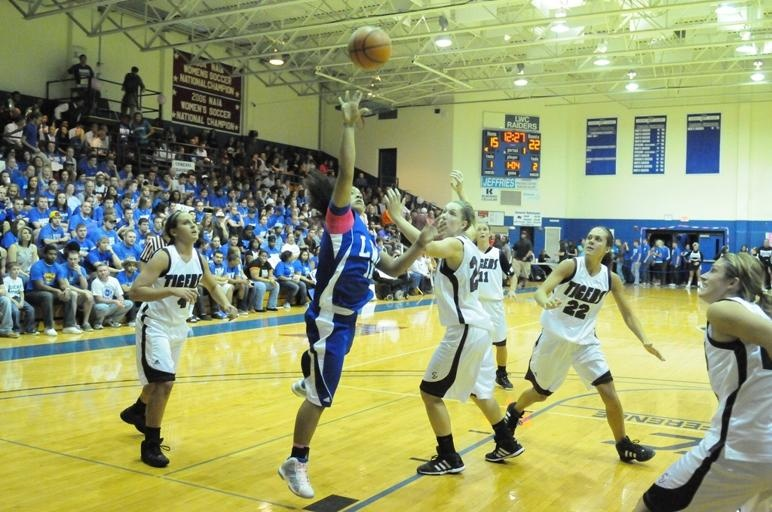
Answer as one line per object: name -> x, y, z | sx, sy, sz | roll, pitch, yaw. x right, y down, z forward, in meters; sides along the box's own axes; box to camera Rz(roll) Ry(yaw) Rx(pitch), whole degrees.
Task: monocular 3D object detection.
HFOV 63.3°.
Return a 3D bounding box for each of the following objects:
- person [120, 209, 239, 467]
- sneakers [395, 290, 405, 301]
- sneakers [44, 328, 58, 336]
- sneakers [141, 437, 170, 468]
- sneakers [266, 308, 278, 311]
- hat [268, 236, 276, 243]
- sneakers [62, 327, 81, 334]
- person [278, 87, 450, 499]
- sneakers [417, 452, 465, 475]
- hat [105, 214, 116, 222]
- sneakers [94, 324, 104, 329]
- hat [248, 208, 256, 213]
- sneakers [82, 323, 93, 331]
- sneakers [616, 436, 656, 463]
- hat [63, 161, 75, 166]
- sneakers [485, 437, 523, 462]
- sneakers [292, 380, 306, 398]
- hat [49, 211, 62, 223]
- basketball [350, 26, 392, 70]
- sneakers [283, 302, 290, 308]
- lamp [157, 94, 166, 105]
person -> -1.955, 0.715, 5.770 | 0.722, 2.263, 0.783 | -1, 6, -19
sneakers -> 0.356, 1.069, 17.114 | 0.199, 0.229, 0.260 | 1, 30, 1
sneakers -> -5.422, 1.238, 10.156 | 0.254, 0.102, 0.099 | 0, -4, 30
sneakers -> -2.068, 1.769, 5.575 | 0.148, 0.153, 0.343 | 7, -9, -41
sneakers -> -2.515, 1.172, 13.795 | 0.215, 0.082, 0.071 | 1, -4, -5
hat -> -2.559, -0.402, 14.071 | 0.171, 0.138, 0.147 | -1, 6, -19
sneakers -> -5.244, 1.245, 10.444 | 0.339, 0.134, 0.120 | 1, -1, -6
person -> -0.356, 0.305, 5.070 | 1.044, 3.198, 0.482 | -2, 6, -26
sneakers -> 0.492, 1.861, 5.603 | 0.469, 0.208, 0.170 | 0, -10, 2
hat -> -5.076, -0.693, 11.600 | 0.113, 0.131, 0.266 | 2, 5, 7
sneakers -> -5.009, 1.223, 10.914 | 0.129, 0.096, 0.248 | -1, 6, -20
hat -> -3.345, -1.156, 15.631 | 0.154, 0.111, 0.134 | -14, -35, -8
sneakers -> -5.121, 1.205, 10.729 | 0.175, 0.126, 0.174 | -2, 6, -27
sneakers -> 2.258, 1.793, 5.768 | 0.366, 0.245, 0.196 | -9, 1, 19
hat -> -6.587, -1.937, 13.010 | 0.251, 0.066, 0.215 | 0, 3, -22
sneakers -> 1.053, 1.803, 5.826 | 0.156, 0.204, 0.450 | -24, -5, -45
sneakers -> -0.736, 1.094, 5.233 | 0.113, 0.146, 0.325 | 4, 1, -3
hat -> -5.860, -0.705, 11.145 | 0.186, 0.200, 0.245 | -3, -3, -37
basketball -> -0.146, -1.837, 5.436 | 0.329, 0.418, 0.352 | 6, 7, 40
sneakers -> -2.256, 1.107, 14.215 | 0.120, 0.091, 0.187 | -2, -3, -16
lamp -> -7.059, -4.944, 19.668 | 0.184, 0.344, 0.611 | -1, 6, -18
